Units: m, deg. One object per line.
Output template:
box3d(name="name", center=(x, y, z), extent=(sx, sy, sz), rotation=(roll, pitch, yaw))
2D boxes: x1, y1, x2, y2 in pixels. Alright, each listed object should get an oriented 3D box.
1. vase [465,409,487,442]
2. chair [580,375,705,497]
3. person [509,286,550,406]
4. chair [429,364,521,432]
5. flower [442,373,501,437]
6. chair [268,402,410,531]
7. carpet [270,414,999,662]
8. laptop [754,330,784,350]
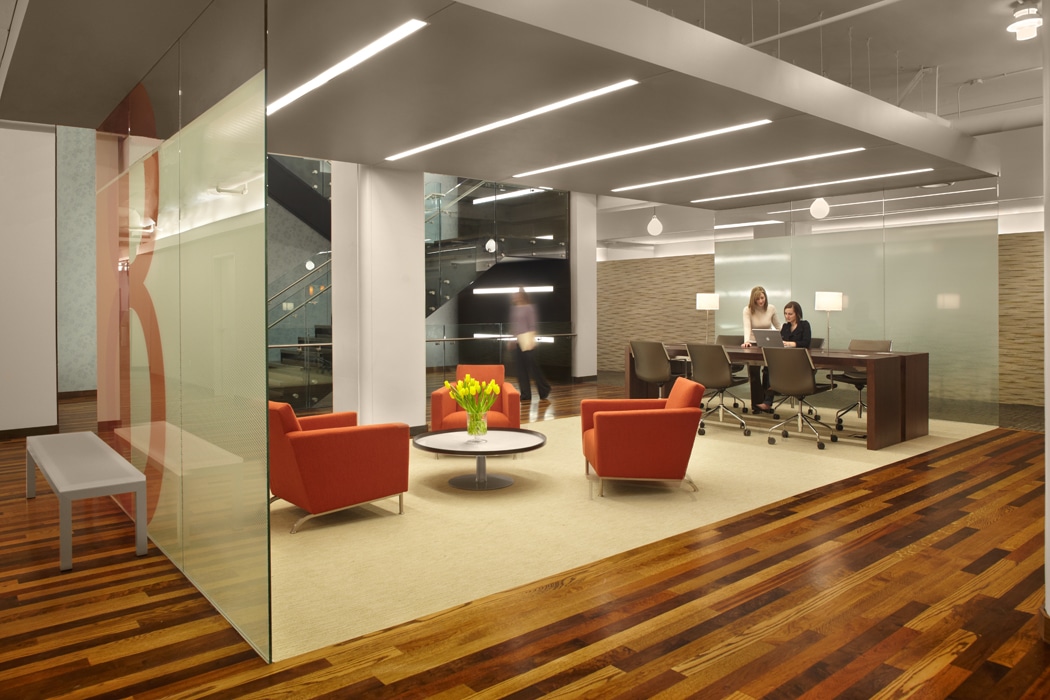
box3d(name="vase", center=(-0.512, 0.757, 6.908), extent=(0.267, 0.288, 0.270), rotation=(3, 4, 37))
box3d(name="chair", center=(1.031, 0.768, 6.672), extent=(1.170, 1.087, 1.131), rotation=(0, 0, -3))
box3d(name="person", center=(0.068, -0.021, 11.690), extent=(0.607, 1.780, 1.205), rotation=(-1, 11, -4))
box3d(name="chair", center=(-0.582, 0.678, 8.277), extent=(0.993, 0.971, 0.773), rotation=(0, 4, 0))
box3d(name="flower", center=(-0.490, 0.592, 6.878), extent=(0.551, 0.563, 0.543), rotation=(-5, -10, 26))
box3d(name="chair", center=(-1.745, 0.865, 6.174), extent=(1.218, 1.119, 1.135), rotation=(-2, 3, -40))
box3d(name="carpet", center=(1.506, 1.228, 7.828), extent=(9.320, 0.276, 3.560), rotation=(-8, 13, -35))
box3d(name="laptop", center=(3.258, -0.149, 9.114), extent=(0.293, 0.266, 0.408), rotation=(-5, 4, -40))
